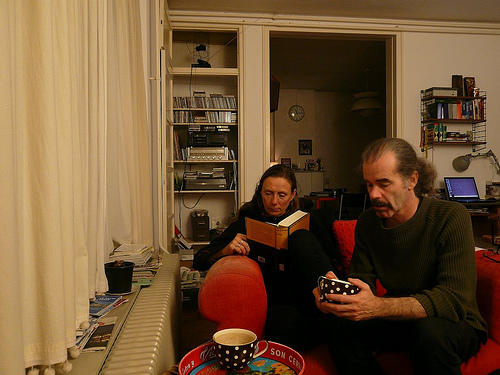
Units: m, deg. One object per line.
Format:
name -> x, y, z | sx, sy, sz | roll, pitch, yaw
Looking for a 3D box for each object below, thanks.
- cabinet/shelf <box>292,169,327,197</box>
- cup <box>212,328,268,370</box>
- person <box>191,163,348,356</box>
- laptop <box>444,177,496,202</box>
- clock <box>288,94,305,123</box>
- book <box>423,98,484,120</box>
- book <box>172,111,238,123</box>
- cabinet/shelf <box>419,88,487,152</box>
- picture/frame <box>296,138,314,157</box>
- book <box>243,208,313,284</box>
cabinet/shelf -> 0.954, -0.069, 7.127 | 0.463, 0.460, 0.182 | 0, -6, -18
cup -> -0.048, 0.535, 1.490 | 0.117, 0.086, 0.134 | 0, -9, 1
person -> 0.097, 0.374, 2.329 | 0.745, 1.028, 0.625 | 5, -10, -8
laptop -> 2.332, 0.022, 4.871 | 0.353, 0.232, 0.325 | 0, 1, -4
clock -> 0.876, -1.500, 8.356 | 0.338, 0.535, 0.082 | -6, 7, -27
book -> 2.256, -0.862, 4.904 | 0.705, 0.260, 0.179 | -4, 7, -14
book -> -0.477, -0.758, 4.774 | 0.674, 0.157, 0.089 | -2, 6, 0
cabinet/shelf -> 2.202, -0.763, 4.872 | 0.658, 0.683, 0.326 | 0, -3, -6
picture/frame -> 1.029, -0.772, 8.414 | 0.338, 0.366, 0.035 | 2, 2, -10
book -> 0.126, 0.254, 2.142 | 0.276, 0.300, 0.113 | 11, 22, 34
